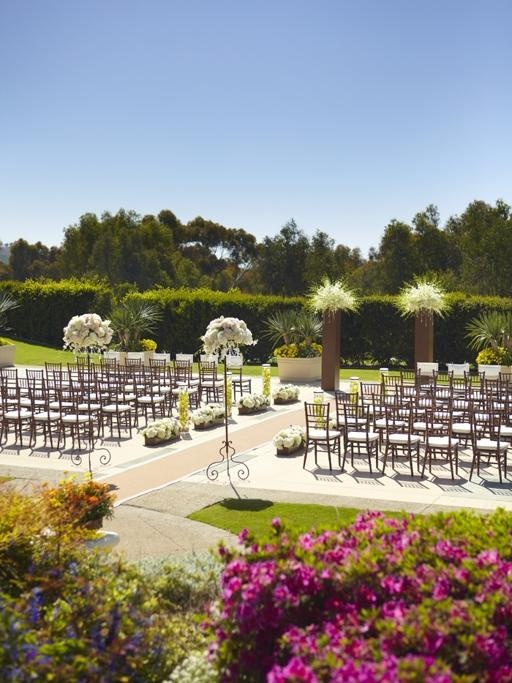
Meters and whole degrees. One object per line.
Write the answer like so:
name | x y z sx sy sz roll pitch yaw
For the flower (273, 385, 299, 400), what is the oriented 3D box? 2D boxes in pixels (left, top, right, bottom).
flower | 0.909 1.643 16.538 0.408 0.458 1.051 0 1 38

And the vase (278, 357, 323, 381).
vase | 1.919 0.997 21.751 0.960 0.661 1.299 1 3 28

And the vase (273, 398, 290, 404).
vase | 0.800 1.804 16.340 0.539 0.185 0.356 -1 0 -1

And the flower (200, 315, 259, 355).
flower | -0.504 -0.085 9.588 0.836 0.980 0.918 -4 3 22
